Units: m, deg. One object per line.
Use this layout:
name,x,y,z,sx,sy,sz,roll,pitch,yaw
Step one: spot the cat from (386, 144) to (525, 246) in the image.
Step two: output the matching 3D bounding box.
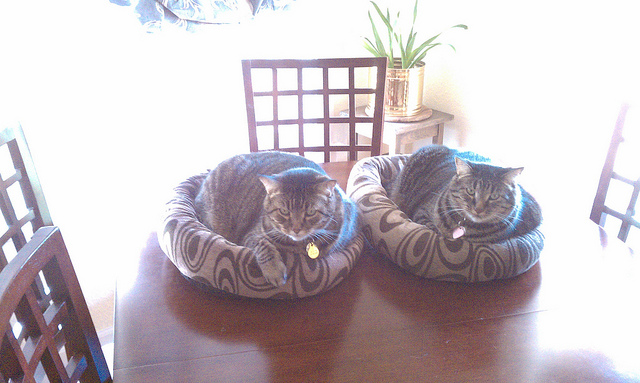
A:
cat,0.612,-0.046,2.266,0.388,0.262,0.531,-3,22,-9

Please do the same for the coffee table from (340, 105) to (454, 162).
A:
coffee table,0.522,-0.364,3.607,0.533,0.534,0.502,-13,39,-21

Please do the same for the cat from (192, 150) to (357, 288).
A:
cat,-0.193,0.076,2.196,0.510,0.285,0.636,-12,33,-26

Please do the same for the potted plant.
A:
potted plant,0.473,-0.923,3.590,0.926,0.878,0.750,-1,24,-7
